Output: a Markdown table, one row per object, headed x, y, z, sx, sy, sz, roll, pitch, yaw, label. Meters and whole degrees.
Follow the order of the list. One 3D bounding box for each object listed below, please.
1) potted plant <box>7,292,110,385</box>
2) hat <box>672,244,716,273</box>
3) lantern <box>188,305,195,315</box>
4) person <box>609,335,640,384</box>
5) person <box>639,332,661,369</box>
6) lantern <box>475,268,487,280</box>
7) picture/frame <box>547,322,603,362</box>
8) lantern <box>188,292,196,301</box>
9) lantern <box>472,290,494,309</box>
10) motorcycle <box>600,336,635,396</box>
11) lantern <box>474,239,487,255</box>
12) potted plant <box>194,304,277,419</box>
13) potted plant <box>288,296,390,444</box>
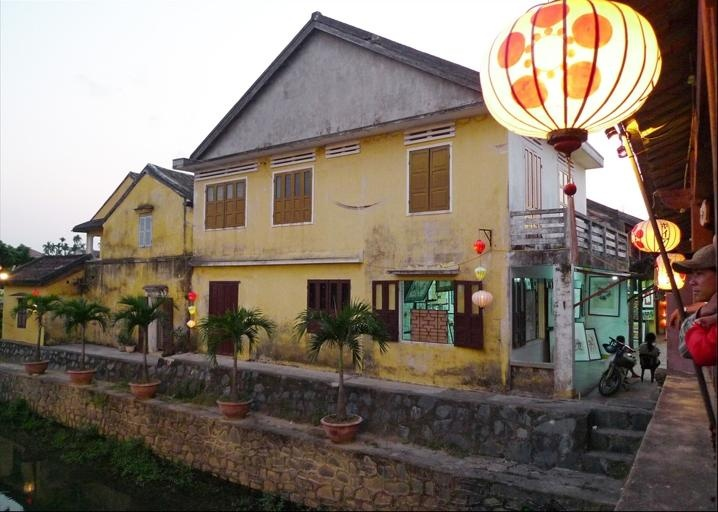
| x | y | z | sx | sy | sz | roll | pitch | yaw | label |
| --- | --- | --- | --- | --- | --- | --- | --- | --- | --- |
| -9.712 | 2.726 | 18.478 | 2.470 | 2.324 | 1.357 | 2 | 1 | 30 | potted plant |
| 3.847 | 0.061 | 6.388 | 0.488 | 0.295 | 0.334 | 3 | -4 | 6 | hat |
| -5.125 | 1.650 | 17.417 | 0.185 | 0.191 | 0.237 | 0 | -2 | -3 | lantern |
| 5.899 | 2.310 | 12.682 | 0.599 | 0.828 | 1.226 | -4 | -7 | 28 | person |
| 6.829 | 2.229 | 13.346 | 0.406 | 0.869 | 0.736 | -5 | -7 | 31 | person |
| 2.759 | 0.395 | 12.825 | 0.228 | 0.346 | 0.244 | 0 | 4 | 2 | lantern |
| 5.467 | 2.204 | 14.416 | 1.328 | 1.029 | 0.127 | 9 | -16 | -36 | picture/frame |
| -5.102 | 1.217 | 17.412 | 0.234 | 0.282 | 0.442 | 0 | -6 | -15 | lantern |
| 2.748 | 0.950 | 12.615 | 0.349 | 0.408 | 0.378 | -2 | -1 | 16 | lantern |
| 5.832 | 2.429 | 12.759 | 0.693 | 1.221 | 1.688 | -4 | -7 | 30 | motorcycle |
| 2.739 | -0.200 | 12.779 | 0.274 | 0.325 | 0.284 | -1 | -3 | 11 | lantern |
| -2.909 | 2.524 | 14.093 | 2.257 | 3.128 | 2.336 | 1 | -6 | 1 | potted plant |
| -0.297 | 2.478 | 12.672 | 2.393 | 3.483 | 2.573 | 0 | -11 | -2 | potted plant |
